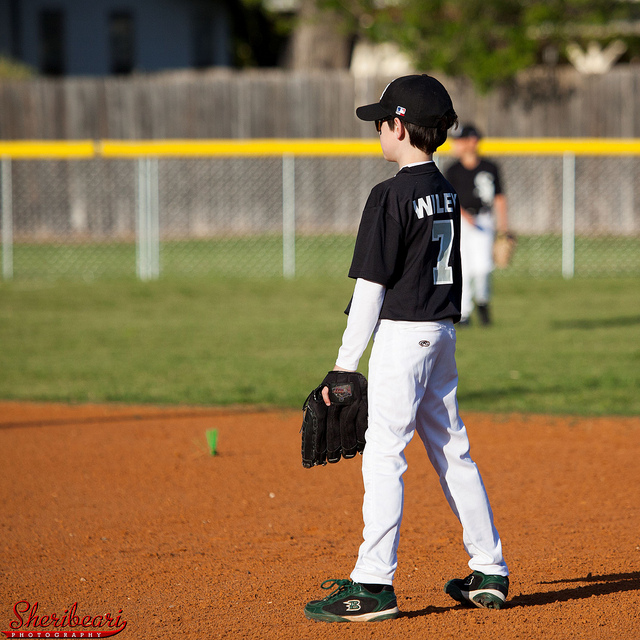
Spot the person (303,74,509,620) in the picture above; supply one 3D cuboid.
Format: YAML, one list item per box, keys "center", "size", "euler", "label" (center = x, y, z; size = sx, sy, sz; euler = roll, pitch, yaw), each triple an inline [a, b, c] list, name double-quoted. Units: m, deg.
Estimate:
- center: [0.410, 0.138, 6.101]
  size: [0.986, 2.571, 0.576]
  euler: [0, 11, -2]
  label: "person"

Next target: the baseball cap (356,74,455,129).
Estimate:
- center: [0.413, -1.090, 6.176]
  size: [0.451, 0.282, 0.321]
  euler: [13, 20, 19]
  label: "baseball cap"

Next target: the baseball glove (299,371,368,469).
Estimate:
- center: [0.069, 0.479, 6.173]
  size: [0.337, 0.443, 0.179]
  euler: [4, 7, 35]
  label: "baseball glove"
